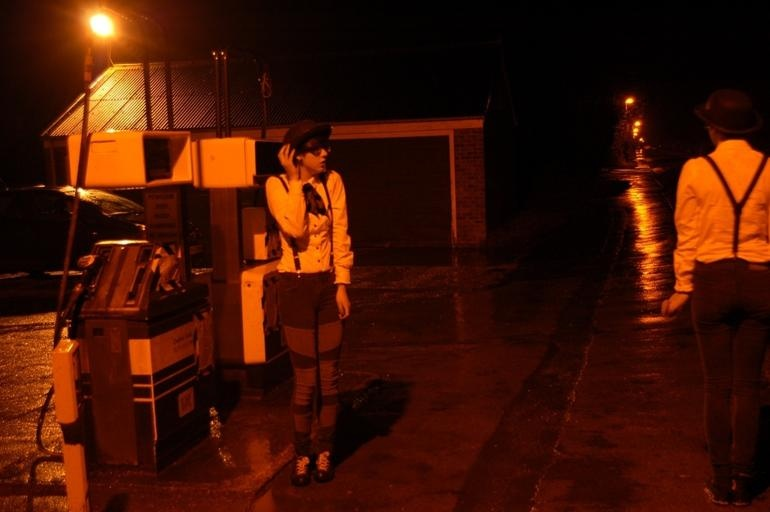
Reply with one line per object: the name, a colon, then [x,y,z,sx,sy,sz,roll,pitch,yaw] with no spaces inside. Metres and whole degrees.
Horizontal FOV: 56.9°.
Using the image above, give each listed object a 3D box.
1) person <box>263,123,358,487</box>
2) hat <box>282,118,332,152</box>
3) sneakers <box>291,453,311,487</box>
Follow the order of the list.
person: [-0.605,0.367,6.134,0.687,3.009,0.728,-4,10,-8]
hat: [-0.647,-1.065,5.970,0.348,0.114,0.281,-22,-4,-16]
sneakers: [-0.721,1.814,6.085,0.163,0.219,0.202,-3,10,-3]
